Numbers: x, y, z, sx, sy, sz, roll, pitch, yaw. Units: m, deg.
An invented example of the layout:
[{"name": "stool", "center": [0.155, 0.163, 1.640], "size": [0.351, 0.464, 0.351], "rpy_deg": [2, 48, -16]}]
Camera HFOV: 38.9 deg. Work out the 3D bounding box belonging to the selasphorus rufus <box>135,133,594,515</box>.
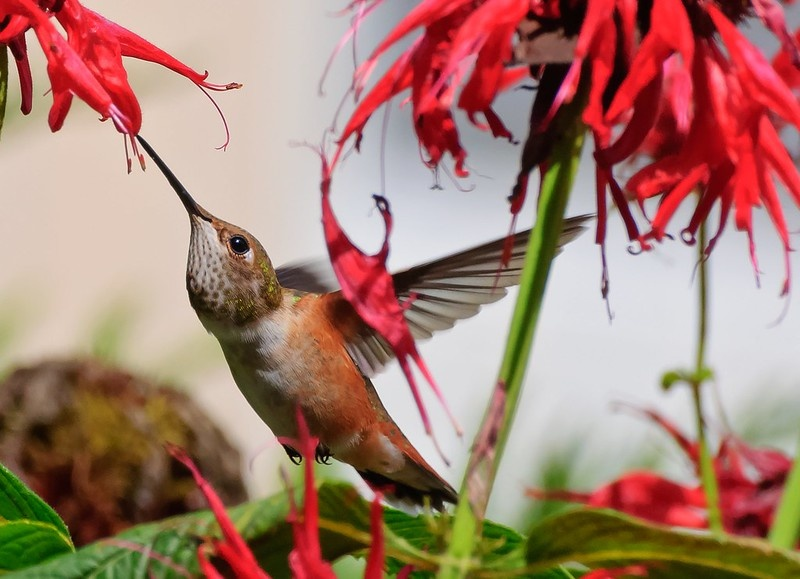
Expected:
[{"name": "selasphorus rufus", "center": [-0.044, 0.019, 0.613], "size": [0.201, 0.160, 0.214], "rpy_deg": [1, -11, 45]}]
